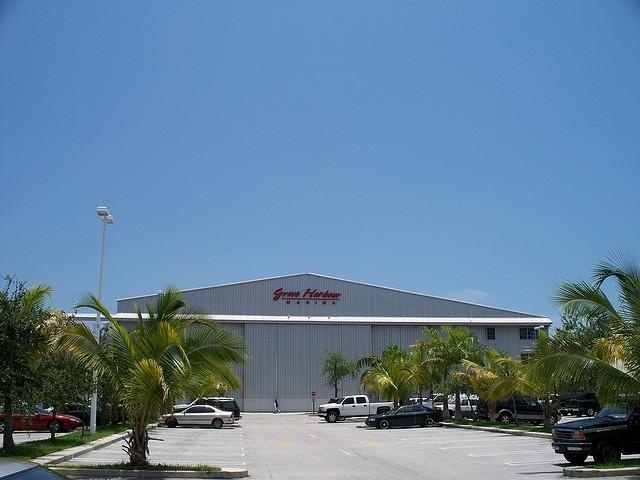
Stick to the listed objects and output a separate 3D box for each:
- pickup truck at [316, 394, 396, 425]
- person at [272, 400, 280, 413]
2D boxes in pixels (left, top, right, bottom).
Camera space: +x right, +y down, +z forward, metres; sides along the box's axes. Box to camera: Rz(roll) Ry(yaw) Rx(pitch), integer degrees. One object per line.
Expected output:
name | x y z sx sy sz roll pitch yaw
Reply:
pickup truck | 2.441 11.799 47.157 4.986 1.797 2.238 1 -19 -1
person | -4.219 16.063 63.185 0.609 1.333 1.847 -1 -15 -3
